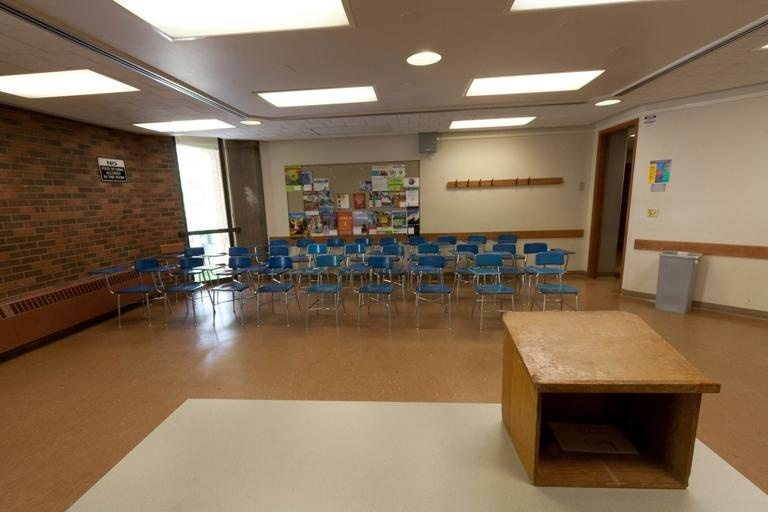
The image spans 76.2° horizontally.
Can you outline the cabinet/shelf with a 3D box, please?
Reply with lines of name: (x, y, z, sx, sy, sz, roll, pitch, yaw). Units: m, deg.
cabinet/shelf: (-0.589, 0.116, 10.151, 9.098, 1.527, 2.286, -1, 8, -14)
